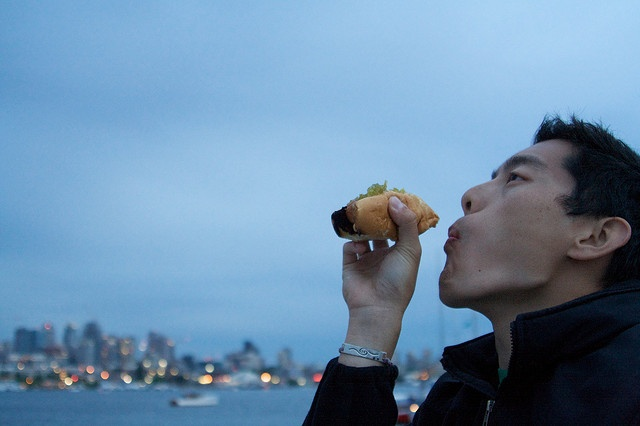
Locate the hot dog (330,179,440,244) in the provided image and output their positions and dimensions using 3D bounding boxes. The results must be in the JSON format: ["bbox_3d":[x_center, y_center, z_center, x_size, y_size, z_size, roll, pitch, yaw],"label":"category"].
[{"bbox_3d":[0.436,0.001,6.166,0.553,0.259,0.408,-4,-5,-23],"label":"hot dog"}]
